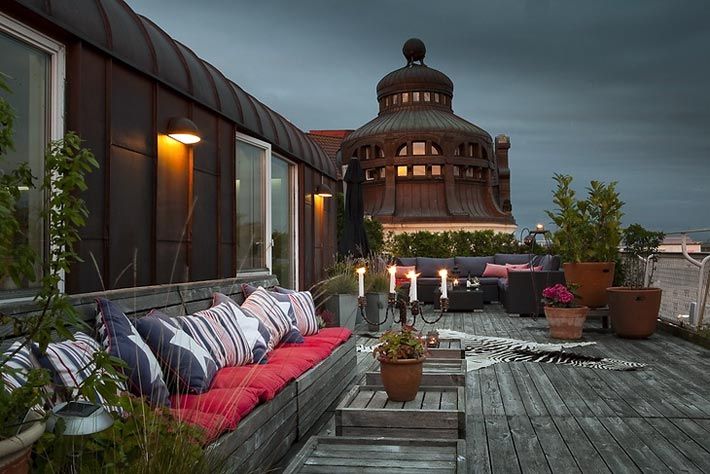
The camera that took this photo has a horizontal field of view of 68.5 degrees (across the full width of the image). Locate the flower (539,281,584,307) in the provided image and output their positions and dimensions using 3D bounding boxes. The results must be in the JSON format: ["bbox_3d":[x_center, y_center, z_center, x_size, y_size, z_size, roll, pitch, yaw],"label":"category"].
[{"bbox_3d":[3.092,0.874,7.608,0.527,0.327,0.335,1,4,24],"label":"flower"}]

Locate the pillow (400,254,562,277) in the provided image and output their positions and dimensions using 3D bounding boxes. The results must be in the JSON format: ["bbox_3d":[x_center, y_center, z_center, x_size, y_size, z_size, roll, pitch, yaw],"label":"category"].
[{"bbox_3d":[2.710,0.634,12.223,1.793,0.531,0.746,-1,-11,3],"label":"pillow"}]

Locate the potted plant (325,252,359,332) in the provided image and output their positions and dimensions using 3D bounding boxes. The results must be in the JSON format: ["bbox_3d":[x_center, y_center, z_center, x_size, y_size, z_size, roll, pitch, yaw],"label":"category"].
[{"bbox_3d":[-0.155,0.919,8.242,0.463,1.280,0.447,3,16,10],"label":"potted plant"}]

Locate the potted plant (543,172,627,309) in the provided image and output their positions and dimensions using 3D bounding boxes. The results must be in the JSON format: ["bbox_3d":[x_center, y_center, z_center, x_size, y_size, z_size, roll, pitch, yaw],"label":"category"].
[{"bbox_3d":[3.919,0.212,8.590,1.310,1.941,0.955,3,-6,-31],"label":"potted plant"}]

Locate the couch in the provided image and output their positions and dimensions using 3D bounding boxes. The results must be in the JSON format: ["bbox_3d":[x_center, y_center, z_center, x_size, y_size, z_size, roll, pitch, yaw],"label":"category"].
[{"bbox_3d":[3.010,0.929,11.799,4.062,1.613,2.112,-1,-1,12],"label":"couch"}]

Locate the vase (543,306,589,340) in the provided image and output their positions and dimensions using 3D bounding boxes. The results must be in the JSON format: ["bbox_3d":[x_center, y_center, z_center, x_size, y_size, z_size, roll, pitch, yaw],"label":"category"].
[{"bbox_3d":[3.172,1.234,7.649,0.462,0.396,0.502,0,-5,9],"label":"vase"}]

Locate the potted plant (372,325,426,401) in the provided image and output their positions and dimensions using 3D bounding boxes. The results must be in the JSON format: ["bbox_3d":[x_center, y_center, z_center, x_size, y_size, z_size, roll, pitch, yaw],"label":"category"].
[{"bbox_3d":[0.396,1.040,4.323,0.348,0.649,0.451,26,-45,-32],"label":"potted plant"}]
